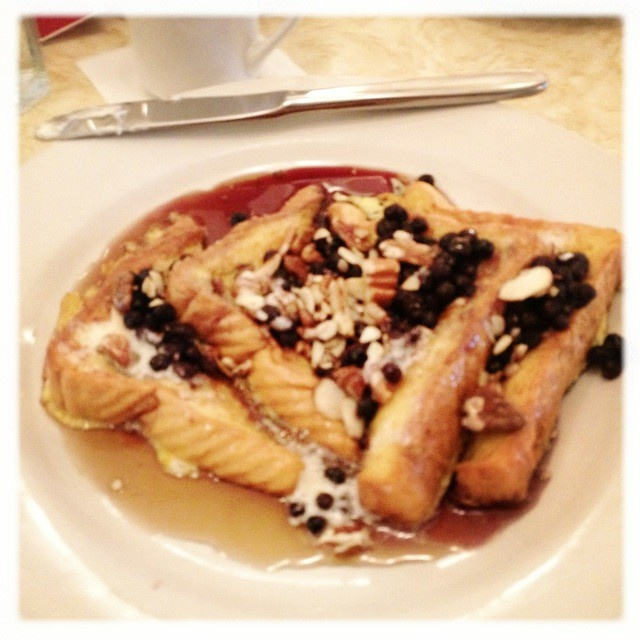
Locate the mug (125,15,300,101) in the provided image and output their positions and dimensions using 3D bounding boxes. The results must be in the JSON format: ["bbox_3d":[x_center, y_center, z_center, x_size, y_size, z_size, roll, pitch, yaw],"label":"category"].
[{"bbox_3d":[-0.242,-0.606,1.540,0.350,0.272,0.163,-3,68,-3],"label":"mug"}]
